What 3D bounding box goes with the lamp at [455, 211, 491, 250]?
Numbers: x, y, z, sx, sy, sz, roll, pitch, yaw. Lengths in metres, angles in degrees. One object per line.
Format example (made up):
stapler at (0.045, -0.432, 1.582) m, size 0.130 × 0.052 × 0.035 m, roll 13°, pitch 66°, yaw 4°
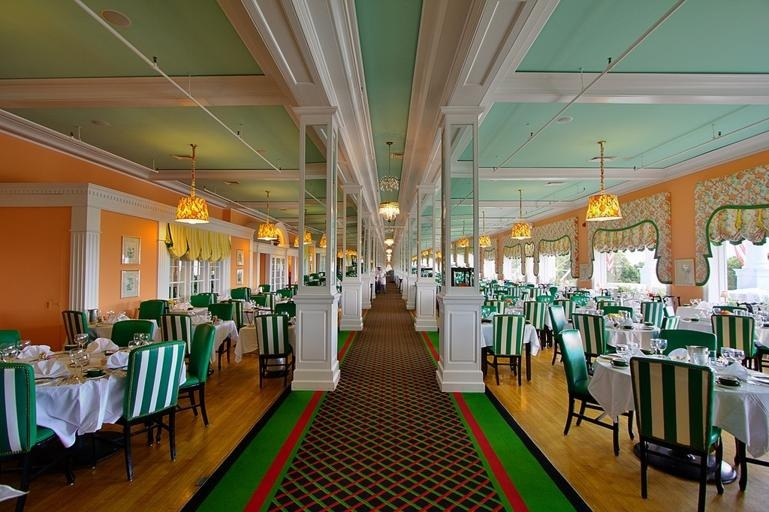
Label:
lamp at (3.426, -1.026, 18.452) m, size 1.526 × 1.642 × 1.522 m, roll 4°, pitch -5°, yaw -1°
